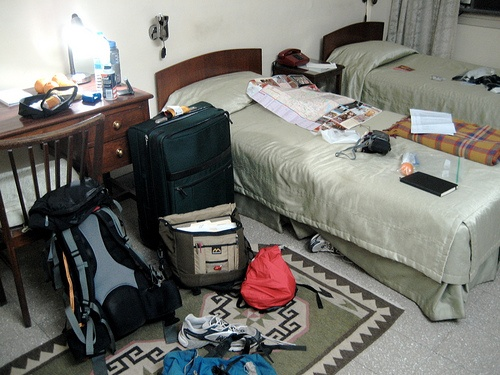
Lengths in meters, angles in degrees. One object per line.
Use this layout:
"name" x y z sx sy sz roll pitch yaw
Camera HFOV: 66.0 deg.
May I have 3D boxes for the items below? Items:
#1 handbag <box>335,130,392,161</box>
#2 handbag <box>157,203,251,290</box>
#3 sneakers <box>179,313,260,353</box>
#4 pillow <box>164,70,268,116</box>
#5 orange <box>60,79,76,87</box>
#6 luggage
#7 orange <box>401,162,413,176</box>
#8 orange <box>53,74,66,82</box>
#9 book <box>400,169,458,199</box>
"handbag" 0.786 -0.301 2.614 0.262 0.093 0.236 7 39 16
"handbag" -0.263 0.379 2.395 0.537 0.399 0.310 -8 23 -30
"sneakers" -0.146 0.756 2.097 0.444 0.185 0.175 2 29 1
"pillow" -0.258 -0.797 3.152 0.372 0.129 0.520 23 43 29
"orange" -1.149 -0.655 2.413 0.069 0.033 0.089 -8 22 -25
"luggage" -0.432 -0.070 2.684 0.454 0.974 0.638 25 40 34
"orange" 0.961 -0.106 2.397 0.071 0.040 0.073 -32 70 -8
"orange" -1.201 -0.689 2.421 0.062 0.033 0.064 9 22 15
"book" 1.048 -0.026 2.273 0.149 0.027 0.206 -24 36 -36
